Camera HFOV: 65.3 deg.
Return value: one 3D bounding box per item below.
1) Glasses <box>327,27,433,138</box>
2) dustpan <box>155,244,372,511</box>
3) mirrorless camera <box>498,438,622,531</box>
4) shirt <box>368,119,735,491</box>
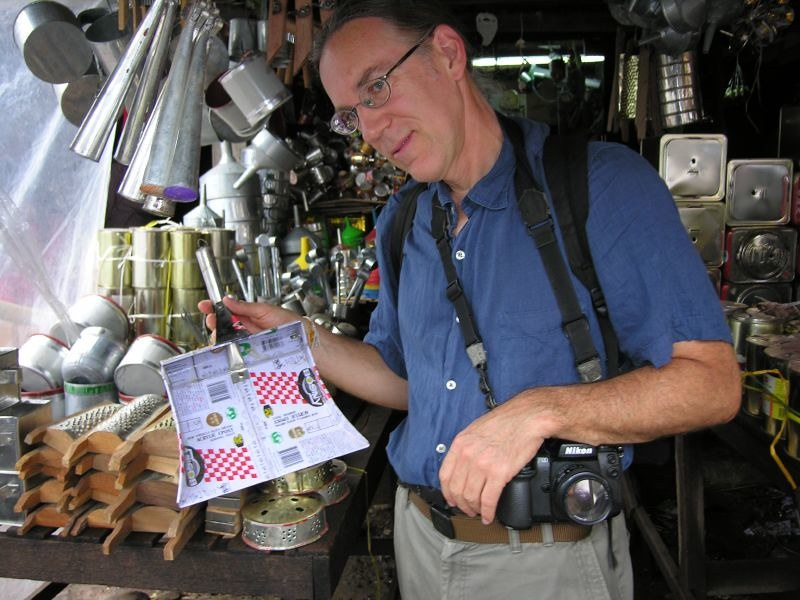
[{"bbox_3d":[-0.063,-0.609,1.775,0.259,0.080,0.265,-47,-1,40],"label":"Glasses"},{"bbox_3d":[-0.423,0.150,1.653,0.510,0.660,0.087,-13,-30,-24],"label":"dustpan"},{"bbox_3d":[0.374,0.423,1.424,0.294,0.201,0.194,-1,0,3],"label":"mirrorless camera"},{"bbox_3d":[0.297,0.016,1.772,1.096,0.940,0.439,-7,-6,31],"label":"shirt"}]
